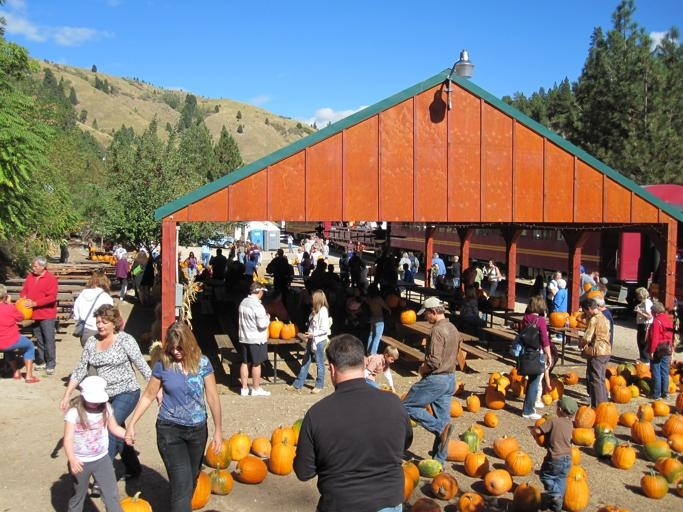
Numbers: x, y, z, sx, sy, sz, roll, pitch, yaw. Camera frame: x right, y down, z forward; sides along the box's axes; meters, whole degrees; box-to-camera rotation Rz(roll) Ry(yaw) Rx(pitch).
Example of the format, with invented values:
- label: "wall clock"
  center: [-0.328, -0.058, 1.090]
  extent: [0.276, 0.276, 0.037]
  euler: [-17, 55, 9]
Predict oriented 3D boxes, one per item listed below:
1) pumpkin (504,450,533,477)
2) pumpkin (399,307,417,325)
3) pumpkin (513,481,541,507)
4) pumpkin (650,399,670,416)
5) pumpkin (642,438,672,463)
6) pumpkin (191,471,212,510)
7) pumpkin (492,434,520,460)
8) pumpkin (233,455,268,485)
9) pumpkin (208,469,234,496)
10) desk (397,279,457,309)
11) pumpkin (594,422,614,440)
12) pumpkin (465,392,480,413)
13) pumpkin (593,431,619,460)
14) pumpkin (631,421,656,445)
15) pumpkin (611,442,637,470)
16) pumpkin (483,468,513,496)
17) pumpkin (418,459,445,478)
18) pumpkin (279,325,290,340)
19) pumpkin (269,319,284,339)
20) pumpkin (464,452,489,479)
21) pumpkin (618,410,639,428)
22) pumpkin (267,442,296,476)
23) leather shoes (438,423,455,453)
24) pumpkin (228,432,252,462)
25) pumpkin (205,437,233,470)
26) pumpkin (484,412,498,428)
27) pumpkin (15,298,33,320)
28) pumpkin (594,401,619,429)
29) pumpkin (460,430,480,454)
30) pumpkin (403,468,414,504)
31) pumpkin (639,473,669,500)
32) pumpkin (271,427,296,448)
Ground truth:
- label: "pumpkin"
  center: [2.635, 3.029, 8.637]
  extent: [0.315, 0.375, 0.339]
  euler: [-5, -8, 28]
- label: "pumpkin"
  center: [1.714, 1.543, 15.059]
  extent: [0.295, 0.341, 0.324]
  euler: [1, 3, -6]
- label: "pumpkin"
  center: [2.420, 3.084, 7.614]
  extent: [0.261, 0.319, 0.266]
  euler: [-2, -1, -41]
- label: "pumpkin"
  center: [5.965, 2.829, 10.899]
  extent: [0.270, 0.351, 0.297]
  euler: [5, -12, -1]
- label: "pumpkin"
  center: [4.928, 3.000, 9.083]
  extent: [0.361, 0.331, 0.302]
  euler: [-10, -22, -13]
- label: "pumpkin"
  center: [-1.824, 3.055, 7.621]
  extent: [0.171, 0.413, 0.463]
  euler: [3, 1, 0]
- label: "pumpkin"
  center: [2.541, 2.918, 8.995]
  extent: [0.282, 0.326, 0.316]
  euler: [0, 7, 14]
- label: "pumpkin"
  center: [-1.265, 3.011, 8.241]
  extent: [0.400, 0.399, 0.367]
  euler: [5, -24, -21]
- label: "pumpkin"
  center: [-1.631, 3.033, 7.960]
  extent: [0.272, 0.328, 0.278]
  euler: [-1, -11, 42]
- label: "desk"
  center: [3.037, 1.309, 19.530]
  extent: [1.345, 1.136, 1.906]
  euler: [0, 4, -19]
- label: "pumpkin"
  center: [4.274, 2.823, 9.508]
  extent: [0.230, 0.285, 0.247]
  euler: [-6, 1, -29]
- label: "pumpkin"
  center: [2.462, 2.759, 11.022]
  extent: [0.231, 0.394, 0.271]
  euler: [0, -14, 0]
- label: "pumpkin"
  center: [4.214, 2.941, 9.259]
  extent: [0.323, 0.490, 0.348]
  euler: [2, 4, -34]
- label: "pumpkin"
  center: [5.016, 2.902, 9.660]
  extent: [0.309, 0.484, 0.331]
  euler: [-3, -4, 16]
- label: "pumpkin"
  center: [4.374, 3.051, 8.961]
  extent: [0.406, 0.431, 0.196]
  euler: [4, 1, -6]
- label: "pumpkin"
  center: [2.164, 3.095, 8.012]
  extent: [0.286, 0.344, 0.337]
  euler: [7, 42, 10]
- label: "pumpkin"
  center: [1.265, 3.027, 8.355]
  extent: [0.266, 0.234, 0.219]
  euler: [-4, -21, 18]
- label: "pumpkin"
  center: [-1.228, 1.650, 12.659]
  extent: [0.223, 0.362, 0.218]
  euler: [6, -7, -37]
- label: "pumpkin"
  center: [-1.468, 1.582, 12.701]
  extent: [0.295, 0.474, 0.305]
  euler: [2, -3, -26]
- label: "pumpkin"
  center: [1.994, 3.042, 8.603]
  extent: [0.277, 0.322, 0.304]
  euler: [-6, -2, -20]
- label: "pumpkin"
  center: [5.072, 2.861, 10.307]
  extent: [0.191, 0.174, 0.276]
  euler: [-9, -9, 8]
- label: "pumpkin"
  center: [-0.899, 2.977, 8.662]
  extent: [0.380, 0.418, 0.287]
  euler: [4, 1, -6]
- label: "leather shoes"
  center: [1.486, 2.547, 8.261]
  extent: [0.151, 0.448, 0.136]
  euler: [4, 11, 1]
- label: "pumpkin"
  center: [-1.526, 2.812, 8.768]
  extent: [0.353, 0.635, 0.361]
  euler: [3, -14, 0]
- label: "pumpkin"
  center: [-1.775, 2.872, 8.397]
  extent: [0.405, 0.360, 0.665]
  euler: [4, 1, -13]
- label: "pumpkin"
  center: [2.671, 2.892, 10.402]
  extent: [0.163, 0.209, 0.249]
  euler: [-1, 7, -9]
- label: "pumpkin"
  center: [-6.302, 1.046, 11.561]
  extent: [0.317, 0.480, 0.348]
  euler: [-6, -12, 19]
- label: "pumpkin"
  center: [4.574, 2.743, 10.072]
  extent: [0.321, 0.489, 0.367]
  euler: [6, 1, -19]
- label: "pumpkin"
  center: [2.045, 2.842, 9.142]
  extent: [0.251, 0.427, 0.257]
  euler: [-4, 5, -44]
- label: "pumpkin"
  center: [0.920, 3.081, 7.878]
  extent: [0.130, 0.408, 0.368]
  euler: [3, 1, 13]
- label: "pumpkin"
  center: [4.403, 3.174, 8.258]
  extent: [0.268, 0.356, 0.315]
  euler: [-5, -1, -6]
- label: "pumpkin"
  center: [-0.892, 2.713, 8.875]
  extent: [0.278, 0.344, 0.296]
  euler: [6, -8, -28]
